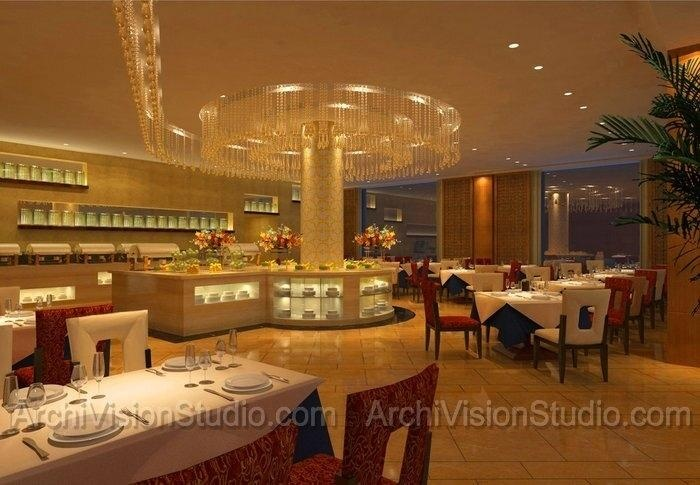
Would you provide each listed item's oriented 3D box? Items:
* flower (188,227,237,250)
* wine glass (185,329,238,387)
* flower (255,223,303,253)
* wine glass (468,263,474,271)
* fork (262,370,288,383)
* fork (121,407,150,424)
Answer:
[{"bbox_3d":[-2.744,-0.016,9.940,0.697,0.436,0.711,0,9,0],"label":"flower"},{"bbox_3d":[-1.134,0.989,4.272,0.175,0.262,0.660,1,1,16],"label":"wine glass"},{"bbox_3d":[-1.476,-0.033,10.725,1.104,0.636,1.133,0,-5,-2],"label":"flower"},{"bbox_3d":[3.208,0.670,13.161,0.154,0.206,0.294,-1,-1,25],"label":"wine glass"},{"bbox_3d":[-0.630,1.092,4.028,0.064,0.058,0.460,0,-2,-43],"label":"fork"},{"bbox_3d":[-1.511,1.228,3.506,0.293,0.036,0.054,5,11,29],"label":"fork"}]
